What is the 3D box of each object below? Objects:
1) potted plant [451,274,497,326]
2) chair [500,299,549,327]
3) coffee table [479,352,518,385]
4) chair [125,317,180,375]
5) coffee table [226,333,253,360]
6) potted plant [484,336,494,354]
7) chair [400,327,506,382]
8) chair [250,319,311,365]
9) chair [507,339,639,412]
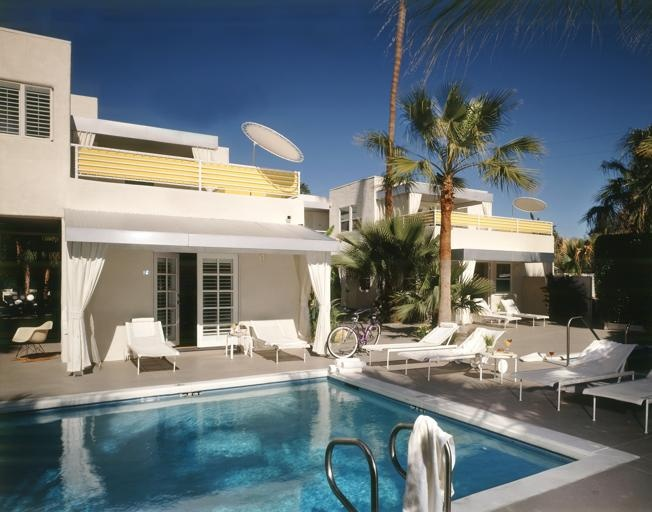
[{"bbox_3d":[4.867,1.367,17.388,2.022,1.257,2.112,2,-3,0],"label":"potted plant"},{"bbox_3d":[7.955,2.284,20.518,0.929,0.988,1.971,1,-4,-17],"label":"chair"},{"bbox_3d":[3.784,2.431,11.289,0.790,0.638,0.826,-1,1,-30],"label":"coffee table"},{"bbox_3d":[-4.085,2.042,11.740,0.907,1.035,1.580,2,2,-36],"label":"chair"},{"bbox_3d":[-2.391,2.457,13.841,0.644,0.667,0.665,2,-7,-20],"label":"coffee table"},{"bbox_3d":[3.732,1.999,11.610,0.248,0.329,0.296,3,-7,-5],"label":"potted plant"},{"bbox_3d":[2.849,2.150,11.442,2.257,1.065,1.105,2,-5,-24],"label":"chair"},{"bbox_3d":[-1.215,2.191,13.026,0.980,0.795,1.304,2,-6,-22],"label":"chair"},{"bbox_3d":[4.663,2.120,9.448,2.117,0.984,1.188,1,-6,-29],"label":"chair"}]
